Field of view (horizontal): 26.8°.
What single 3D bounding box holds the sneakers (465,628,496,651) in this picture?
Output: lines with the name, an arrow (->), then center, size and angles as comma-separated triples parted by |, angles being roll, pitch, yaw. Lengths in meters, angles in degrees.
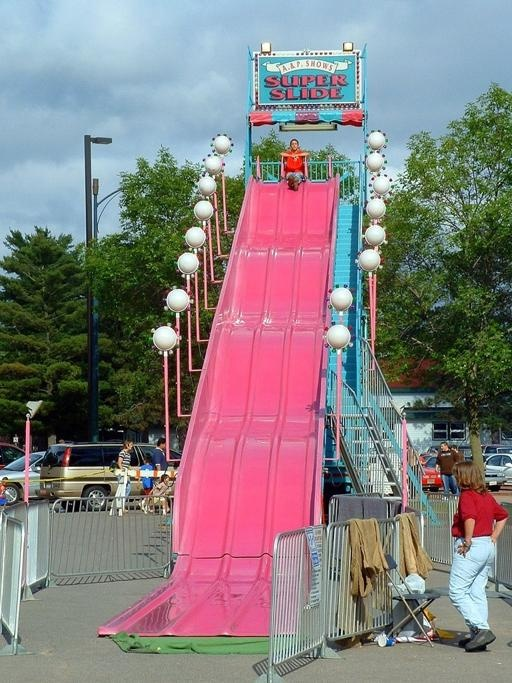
sneakers -> 2.009, 2.700, 9.762 | 0.259, 0.191, 0.152 | -2, -6, 6

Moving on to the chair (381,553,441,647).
chair -> 1.445, 2.468, 10.212 | 0.534, 0.811, 0.559 | 2, 0, 7

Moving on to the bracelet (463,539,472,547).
bracelet -> 1.899, 1.818, 9.732 | 0.052, 0.065, 0.025 | -4, -24, 25
